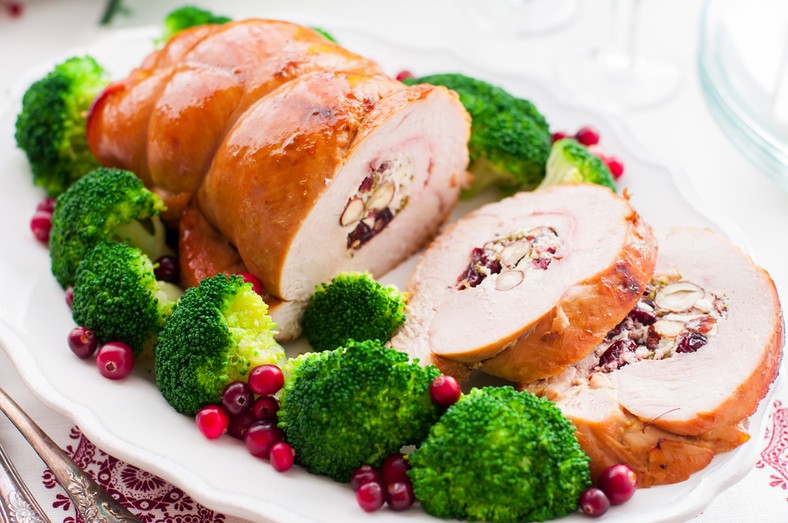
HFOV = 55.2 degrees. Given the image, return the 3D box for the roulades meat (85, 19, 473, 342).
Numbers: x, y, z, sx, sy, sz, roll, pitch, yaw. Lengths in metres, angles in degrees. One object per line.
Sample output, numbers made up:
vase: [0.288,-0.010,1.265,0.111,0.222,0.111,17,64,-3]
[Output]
roulades meat: [-0.463,-0.668,3.319,1.246,0.795,1.321,-24,54,-40]

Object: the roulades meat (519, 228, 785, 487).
roulades meat: [0.943,0.316,2.703,0.828,0.224,0.776,-44,48,-15]

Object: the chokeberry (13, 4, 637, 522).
chokeberry: [-0.599,-0.164,3.984,2.340,1.936,1.967,-3,43,-8]
